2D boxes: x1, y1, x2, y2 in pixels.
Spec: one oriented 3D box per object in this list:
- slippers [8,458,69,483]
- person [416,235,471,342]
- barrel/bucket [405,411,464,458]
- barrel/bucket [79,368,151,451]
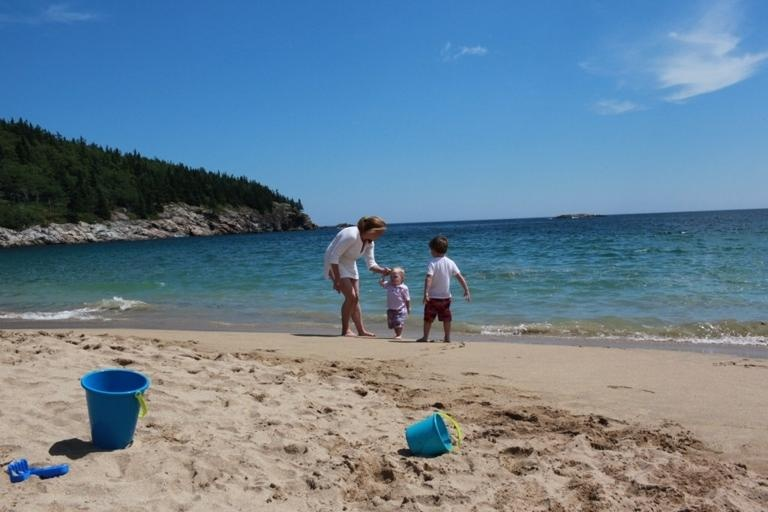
[{"bbox_3d":[-3.040,1.853,5.081,0.339,0.112,0.243,9,-14,-24],"label":"slippers"},{"bbox_3d":[0.970,0.566,9.594,0.770,1.833,1.224,0,9,7],"label":"person"},{"bbox_3d":[0.505,1.759,5.871,0.479,0.417,0.411,-30,54,-33],"label":"barrel/bucket"},{"bbox_3d":[-2.585,1.481,5.606,0.684,0.559,0.690,7,6,-1],"label":"barrel/bucket"}]
